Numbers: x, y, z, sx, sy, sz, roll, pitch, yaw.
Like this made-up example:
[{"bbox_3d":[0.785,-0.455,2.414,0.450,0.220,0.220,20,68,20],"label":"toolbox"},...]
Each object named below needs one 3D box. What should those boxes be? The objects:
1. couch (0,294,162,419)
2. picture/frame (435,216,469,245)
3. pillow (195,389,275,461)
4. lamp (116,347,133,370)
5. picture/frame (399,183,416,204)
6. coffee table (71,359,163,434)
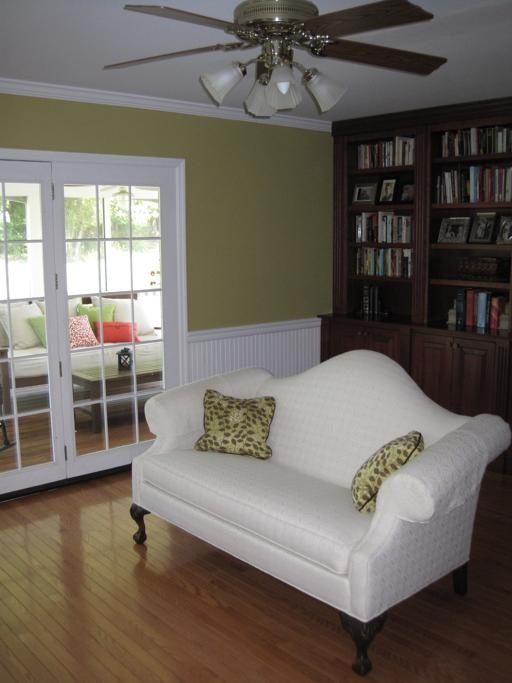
[{"bbox_3d":[-1.264,0.099,3.751,0.919,0.555,0.347,-8,12,-44],"label":"couch"},{"bbox_3d":[1.631,-0.919,4.476,0.039,0.292,0.302,29,-14,-38],"label":"picture/frame"},{"bbox_3d":[-0.081,0.499,2.990,0.450,0.439,0.124,3,-35,-19],"label":"pillow"},{"bbox_3d":[-0.977,0.132,4.012,0.148,0.201,0.137,-2,22,-15],"label":"lamp"},{"bbox_3d":[1.368,-1.346,4.892,0.052,0.169,0.187,6,12,-13],"label":"picture/frame"},{"bbox_3d":[-1.046,0.310,3.991,0.659,0.317,0.465,-7,10,-38],"label":"coffee table"}]
